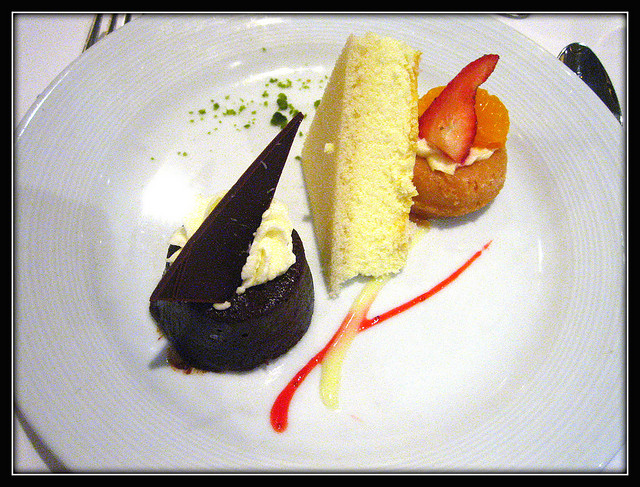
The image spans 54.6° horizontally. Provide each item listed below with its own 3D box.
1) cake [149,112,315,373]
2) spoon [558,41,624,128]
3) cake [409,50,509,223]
[{"bbox_3d":[-0.393,0.039,2.733,0.669,0.891,0.706,29,50,6],"label":"cake"},{"bbox_3d":[1.429,-0.902,3.283,0.182,0.084,0.585,-29,86,-14],"label":"spoon"},{"bbox_3d":[0.662,-0.466,2.926,0.577,0.629,0.546,17,66,17],"label":"cake"}]
